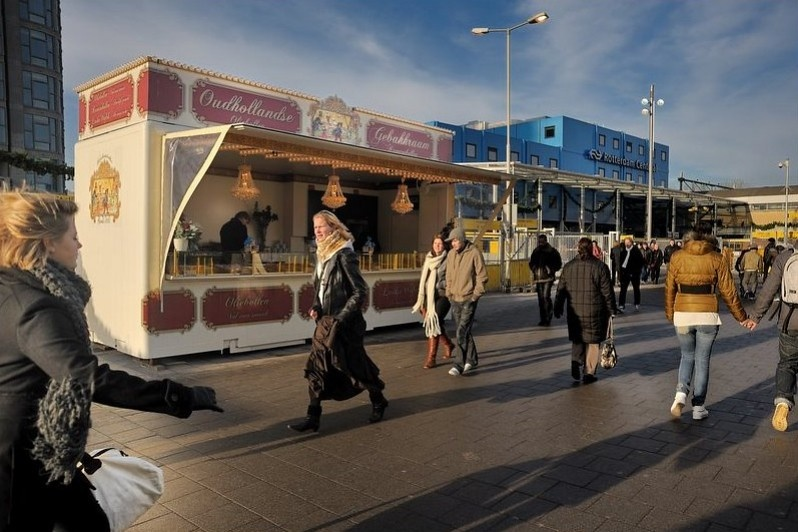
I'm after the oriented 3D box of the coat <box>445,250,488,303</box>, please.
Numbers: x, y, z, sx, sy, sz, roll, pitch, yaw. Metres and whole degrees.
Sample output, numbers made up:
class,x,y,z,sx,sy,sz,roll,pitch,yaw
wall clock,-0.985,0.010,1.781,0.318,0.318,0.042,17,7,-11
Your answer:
class,x,y,z,sx,sy,sz,roll,pitch,yaw
coat,1.027,0.144,9.608,0.819,0.905,0.398,-4,-8,39

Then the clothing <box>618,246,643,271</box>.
class,x,y,z,sx,sy,sz,roll,pitch,yaw
clothing,6.759,-0.230,17.885,0.397,0.639,0.616,19,-14,-39

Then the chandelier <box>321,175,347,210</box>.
class,x,y,z,sx,sy,sz,roll,pitch,yaw
chandelier,-1.531,-1.895,14.618,0.611,1.085,0.582,-1,2,-37

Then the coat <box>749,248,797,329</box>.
class,x,y,z,sx,sy,sz,roll,pitch,yaw
coat,4.372,0.246,7.108,0.456,0.898,0.461,3,6,28

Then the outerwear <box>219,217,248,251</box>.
class,x,y,z,sx,sy,sz,roll,pitch,yaw
outerwear,-3.692,-0.714,13.731,0.663,0.630,0.373,8,13,26

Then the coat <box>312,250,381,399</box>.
class,x,y,z,sx,sy,sz,roll,pitch,yaw
coat,-0.626,0.649,6.813,0.818,1.706,0.418,0,5,-8

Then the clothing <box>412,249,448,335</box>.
class,x,y,z,sx,sy,sz,roll,pitch,yaw
clothing,0.508,0.448,10.303,0.534,1.670,0.286,10,18,13

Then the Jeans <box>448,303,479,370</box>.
class,x,y,z,sx,sy,sz,roll,pitch,yaw
Jeans,1.027,1.068,9.532,0.395,1.106,0.522,1,5,4

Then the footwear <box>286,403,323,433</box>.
class,x,y,z,sx,sy,sz,roll,pitch,yaw
footwear,-0.980,1.705,6.810,0.518,0.405,0.206,7,-7,-21

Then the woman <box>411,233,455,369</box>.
class,x,y,z,sx,sy,sz,roll,pitch,yaw
woman,0.649,0.583,10.306,0.891,2.163,0.600,4,-8,-19

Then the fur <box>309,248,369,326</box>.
class,x,y,z,sx,sy,sz,roll,pitch,yaw
fur,-0.696,0.208,7.021,0.568,0.914,0.933,-7,2,-37
